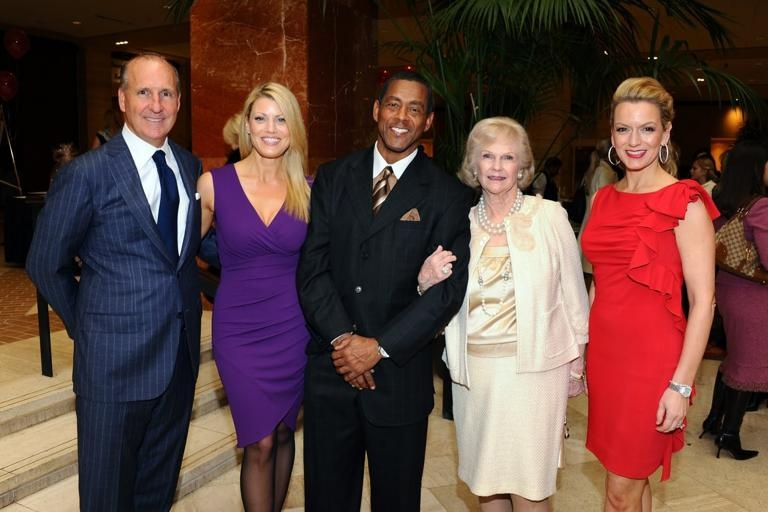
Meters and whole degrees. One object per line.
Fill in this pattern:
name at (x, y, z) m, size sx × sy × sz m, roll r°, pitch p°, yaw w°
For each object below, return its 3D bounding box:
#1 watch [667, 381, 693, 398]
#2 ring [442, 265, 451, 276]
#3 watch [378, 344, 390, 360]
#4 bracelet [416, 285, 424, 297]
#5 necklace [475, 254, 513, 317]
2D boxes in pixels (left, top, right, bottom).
watch at (1.521, 0.674, 2.937) m, size 0.086 × 0.052 × 0.089 m, roll 7°, pitch 5°, yaw -31°
ring at (0.332, 0.070, 2.990) m, size 0.024 × 0.056 × 0.074 m, roll 9°, pitch 15°, yaw 35°
watch at (-0.007, 0.503, 3.036) m, size 0.069 × 0.066 × 0.045 m, roll 38°, pitch 33°, yaw -18°
bracelet at (0.189, 0.193, 3.082) m, size 0.018 × 0.051 × 0.041 m, roll -31°, pitch -15°, yaw 24°
necklace at (0.597, 0.150, 3.135) m, size 0.182 × 0.402 × 0.037 m, roll -4°, pitch 33°, yaw 0°
